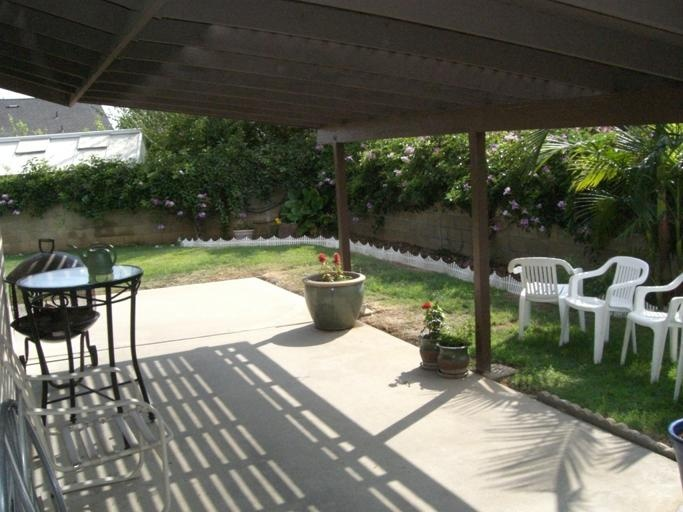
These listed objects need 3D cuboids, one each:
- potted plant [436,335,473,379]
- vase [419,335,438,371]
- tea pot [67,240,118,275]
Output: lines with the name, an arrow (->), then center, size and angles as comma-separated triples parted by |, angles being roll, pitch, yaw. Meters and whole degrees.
potted plant -> 1.055, 0.941, 5.229 | 0.357, 0.380, 0.363 | 0, 1, 2
vase -> 0.857, 0.961, 5.438 | 0.255, 0.310, 0.263 | 0, 2, -1
tea pot -> -2.957, 0.004, 6.428 | 0.611, 0.444, 0.321 | -1, 20, -4
